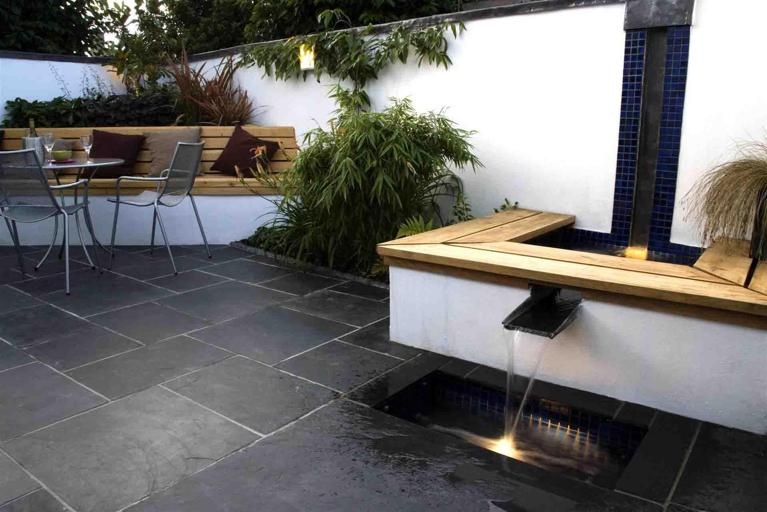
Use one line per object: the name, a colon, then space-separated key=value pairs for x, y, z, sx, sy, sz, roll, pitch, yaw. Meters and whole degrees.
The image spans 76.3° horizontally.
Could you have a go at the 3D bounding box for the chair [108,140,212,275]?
chair: x=-2.511 y=-0.648 z=5.316 sx=0.983 sy=1.254 sz=2.025 roll=-13 pitch=23 yaw=-28

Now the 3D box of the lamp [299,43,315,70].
lamp: x=-0.894 y=-2.348 z=5.717 sx=0.204 sy=0.266 sz=0.092 roll=14 pitch=26 yaw=35

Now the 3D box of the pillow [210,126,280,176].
pillow: x=-1.679 y=-1.212 z=6.168 sx=0.739 sy=0.695 sz=0.226 roll=34 pitch=-1 yaw=17

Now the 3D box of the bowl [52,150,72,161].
bowl: x=-3.063 y=-0.961 z=4.698 sx=0.124 sy=0.061 sz=0.121 roll=0 pitch=4 yaw=0
